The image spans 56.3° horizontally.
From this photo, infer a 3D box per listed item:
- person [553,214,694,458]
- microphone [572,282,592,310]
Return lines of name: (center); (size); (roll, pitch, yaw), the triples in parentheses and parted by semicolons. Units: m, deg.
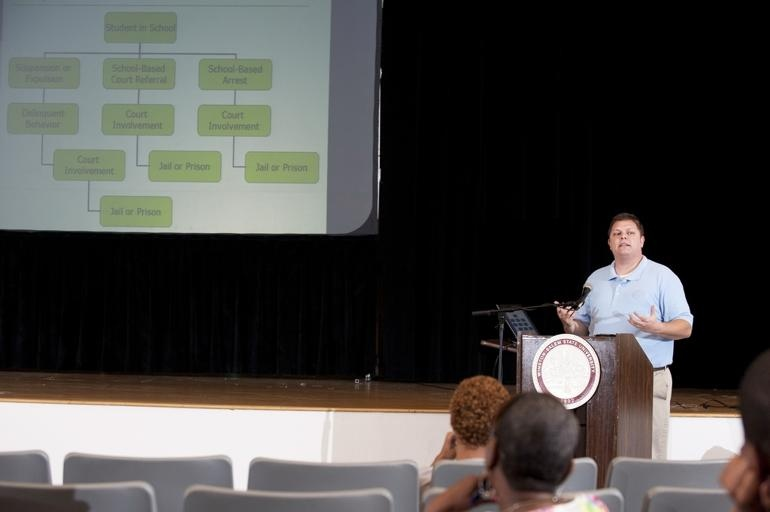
person: (1.781, 0.574, 5.272); (0.824, 1.770, 0.555); (2, 3, 24)
microphone: (1.444, 0.295, 5.252); (0.099, 0.177, 0.556); (2, 3, 18)
